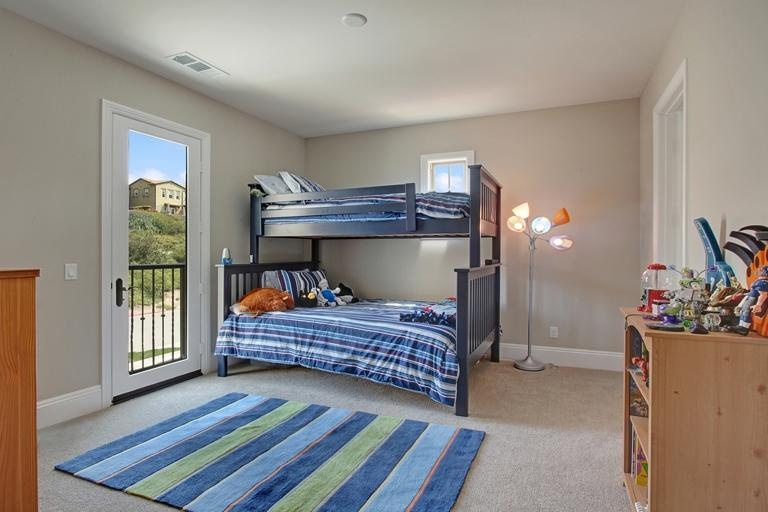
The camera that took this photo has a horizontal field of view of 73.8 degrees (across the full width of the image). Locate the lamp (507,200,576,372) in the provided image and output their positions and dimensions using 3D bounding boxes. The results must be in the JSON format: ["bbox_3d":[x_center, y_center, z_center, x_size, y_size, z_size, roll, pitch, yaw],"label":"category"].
[{"bbox_3d":[1.618,0.295,5.422,0.686,1.695,0.664,3,12,13],"label":"lamp"}]

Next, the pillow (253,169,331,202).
[{"bbox_3d":[-1.069,-0.772,5.632,0.622,0.193,0.454,-4,2,31],"label":"pillow"}]

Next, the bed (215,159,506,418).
[{"bbox_3d":[-0.147,0.255,5.463,2.463,2.025,1.782,-2,2,19],"label":"bed"}]
